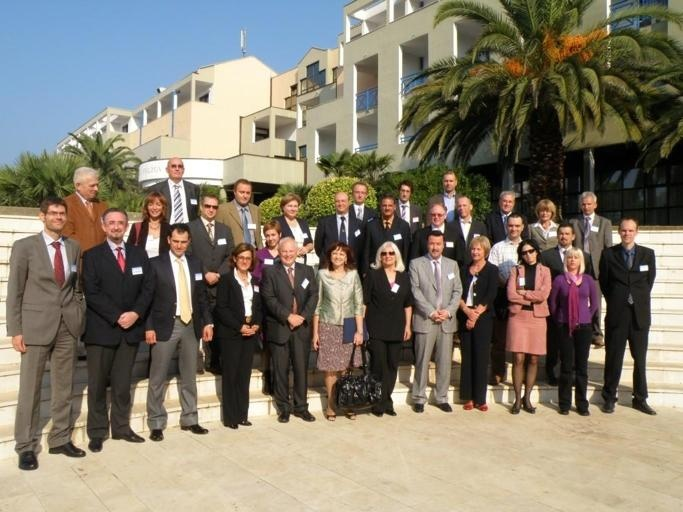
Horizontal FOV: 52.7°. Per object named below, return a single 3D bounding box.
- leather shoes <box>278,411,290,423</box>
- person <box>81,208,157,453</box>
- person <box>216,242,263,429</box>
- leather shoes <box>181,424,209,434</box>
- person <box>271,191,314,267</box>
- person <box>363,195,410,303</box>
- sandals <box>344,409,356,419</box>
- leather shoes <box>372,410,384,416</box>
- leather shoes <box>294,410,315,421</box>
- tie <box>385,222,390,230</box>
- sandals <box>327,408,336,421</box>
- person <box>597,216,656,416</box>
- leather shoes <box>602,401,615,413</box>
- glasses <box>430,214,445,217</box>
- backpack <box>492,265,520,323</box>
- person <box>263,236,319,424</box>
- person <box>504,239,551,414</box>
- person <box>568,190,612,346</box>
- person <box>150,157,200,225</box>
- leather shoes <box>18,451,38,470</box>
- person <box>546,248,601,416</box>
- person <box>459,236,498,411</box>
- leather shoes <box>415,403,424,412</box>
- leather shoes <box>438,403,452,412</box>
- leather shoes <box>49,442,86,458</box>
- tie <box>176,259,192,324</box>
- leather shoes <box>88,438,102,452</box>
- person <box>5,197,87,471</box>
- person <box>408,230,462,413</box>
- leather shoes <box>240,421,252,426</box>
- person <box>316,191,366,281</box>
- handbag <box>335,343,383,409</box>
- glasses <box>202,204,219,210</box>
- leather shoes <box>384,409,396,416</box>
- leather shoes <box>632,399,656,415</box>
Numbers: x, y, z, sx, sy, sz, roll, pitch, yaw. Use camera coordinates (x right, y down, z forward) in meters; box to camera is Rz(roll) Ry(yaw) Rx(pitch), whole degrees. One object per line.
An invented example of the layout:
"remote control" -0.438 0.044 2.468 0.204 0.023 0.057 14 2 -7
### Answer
"leather shoes" -0.784 2.170 9.366 0.160 0.132 0.129 -1 10 -10
"person" -2.751 0.870 8.460 0.827 2.833 0.667 -3 10 -23
"person" -1.366 1.030 9.281 0.636 2.357 0.712 -3 10 -19
"leather shoes" -1.914 2.210 8.976 0.335 0.163 0.138 -1 -3 15
"person" -0.733 -0.265 10.768 0.643 1.394 0.642 -3 3 -24
"person" 0.719 0.046 11.070 0.741 2.094 0.582 -1 17 -2
"sandals" 0.117 2.188 9.562 0.123 0.055 0.441 -1 -1 -12
"leather shoes" 0.516 2.192 9.667 0.140 0.061 0.110 1 10 -2
"leather shoes" -0.502 2.158 9.499 0.315 0.144 0.119 2 5 44
"tie" 0.733 -0.476 10.944 0.091 0.113 0.025 0 -12 4
"sandals" -0.146 2.168 9.511 0.131 0.132 0.150 1 10 -2
"person" 4.154 0.858 9.983 0.745 2.680 0.666 3 10 11
"leather shoes" 3.883 2.156 9.966 0.174 0.145 0.286 6 11 24
"glasses" 1.494 -0.622 10.575 0.188 0.064 0.085 1 10 -1
"backpack" 2.460 0.571 10.527 0.176 0.764 0.532 2 -1 -17
"person" -0.707 1.010 9.533 0.688 2.553 0.688 0 6 0
"person" 2.732 1.001 10.017 0.642 2.402 0.815 1 9 4
"person" 4.094 0.252 11.231 0.670 2.530 0.616 1 10 35
"person" -2.475 -0.665 10.242 0.664 1.592 0.473 2 -15 -19
"leather shoes" -3.607 2.328 7.886 0.244 0.168 0.162 0 10 -7
"person" 3.315 1.070 9.907 0.649 2.298 0.581 4 10 18
"person" 1.990 0.980 10.068 0.527 2.471 0.634 3 10 11
"leather shoes" 1.111 2.170 9.875 0.143 0.081 0.124 1 10 0
"leather shoes" 1.499 2.165 9.981 0.205 0.107 0.272 3 11 9
"leather shoes" -3.232 2.281 8.231 0.449 0.220 0.176 0 0 -7
"tie" -2.027 0.439 8.867 0.168 0.769 0.284 -2 10 -14
"leather shoes" -2.977 2.263 8.309 0.170 0.124 0.183 -3 11 -23
"person" -3.466 0.853 8.051 0.820 3.012 0.755 -4 10 -24
"person" 1.351 0.937 9.959 0.745 2.537 0.687 1 9 3
"leather shoes" -1.282 2.216 9.208 0.152 0.069 0.084 -1 10 -14
"person" -0.047 0.088 11.015 0.831 2.297 0.642 1 -5 4
"handbag" 0.244 1.568 9.327 0.618 0.992 0.315 -3 17 8
"glasses" -1.894 -0.707 9.880 0.218 0.082 0.162 -1 11 -13
"leather shoes" 0.698 2.199 9.716 0.181 0.059 0.147 1 11 -1
"leather shoes" 4.389 2.163 9.950 0.117 0.177 0.376 -4 -2 -17
